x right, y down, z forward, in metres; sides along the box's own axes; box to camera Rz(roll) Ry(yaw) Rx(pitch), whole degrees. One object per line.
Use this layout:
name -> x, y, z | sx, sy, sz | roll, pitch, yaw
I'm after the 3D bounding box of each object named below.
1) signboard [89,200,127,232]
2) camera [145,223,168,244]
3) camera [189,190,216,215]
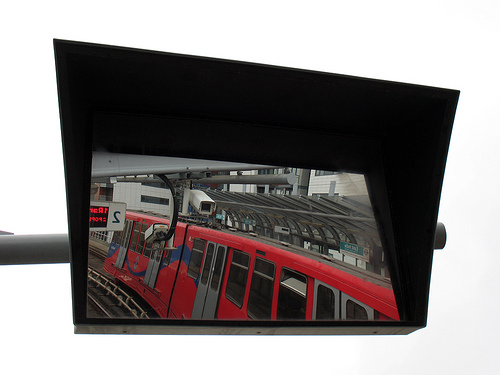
signboard -> -0.667, 0.126, 1.442 | 0.197, 0.128, 0.024 | 0, -10, 11
camera -> -0.486, 0.232, 1.597 | 0.108, 0.074, 0.076 | 2, -1, 20
camera -> -0.256, 0.076, 1.672 | 0.097, 0.081, 0.149 | 8, 21, -25
